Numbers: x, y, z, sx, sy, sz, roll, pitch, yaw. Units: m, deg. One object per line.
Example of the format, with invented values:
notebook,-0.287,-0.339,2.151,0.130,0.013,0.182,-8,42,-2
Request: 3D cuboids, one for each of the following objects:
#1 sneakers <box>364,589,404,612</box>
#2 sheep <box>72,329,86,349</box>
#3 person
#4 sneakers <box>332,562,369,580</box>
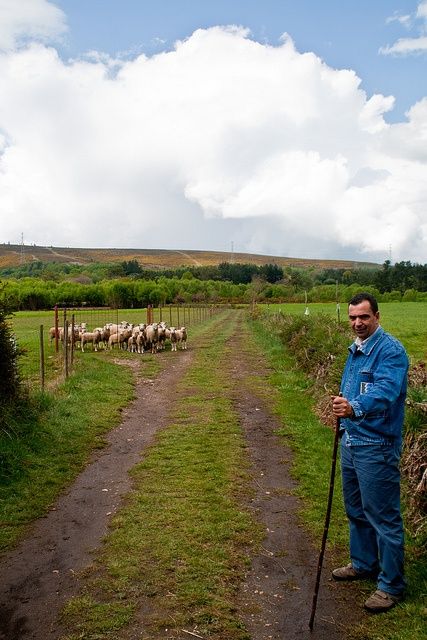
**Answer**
sneakers,1.730,2.854,5.309,0.441,0.189,0.164,-2,-26,-3
sheep,-6.666,0.907,25.972,0.706,1.193,2.778,-1,6,-13
person,1.700,1.324,5.587,0.742,3.205,1.032,0,7,-4
sneakers,1.553,2.819,5.845,0.394,0.172,0.147,1,-9,12
